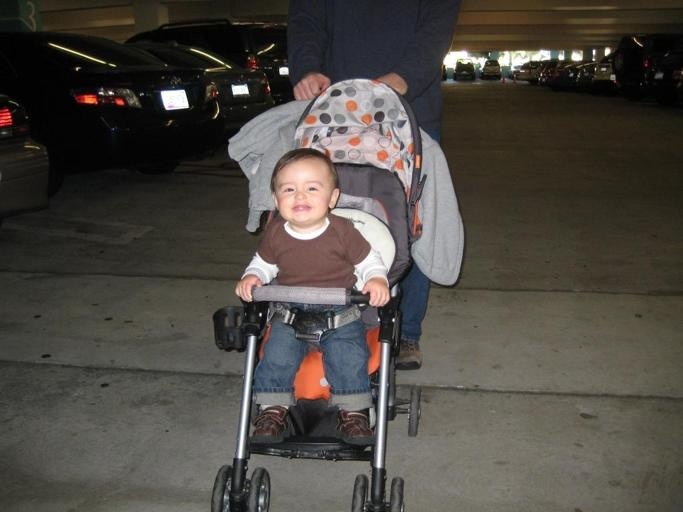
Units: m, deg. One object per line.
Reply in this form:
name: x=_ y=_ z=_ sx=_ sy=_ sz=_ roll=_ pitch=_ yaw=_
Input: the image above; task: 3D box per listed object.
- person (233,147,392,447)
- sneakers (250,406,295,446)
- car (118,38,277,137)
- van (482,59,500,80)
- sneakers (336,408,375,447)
person: x=-0.112 y=0.188 z=2.656 sx=0.648 sy=1.292 sz=0.509 roll=0 pitch=13 yaw=4
sneakers: x=-0.308 y=0.744 z=2.667 sx=0.121 sy=0.075 sz=0.189 roll=4 pitch=4 yaw=-2
car: x=-2.332 y=-2.758 z=9.699 sx=2.602 sy=0.921 sz=1.193 roll=18 pitch=27 yaw=29
van: x=16.316 y=-20.263 z=65.391 sx=1.395 sy=1.450 sz=2.966 roll=-1 pitch=17 yaw=5
sneakers: x=0.065 y=0.758 z=2.645 sx=0.152 sy=0.128 sz=0.161 roll=-2 pitch=13 yaw=-5
